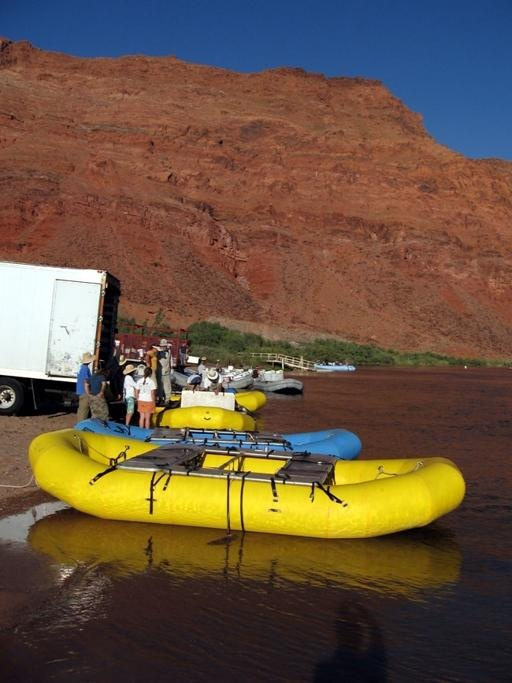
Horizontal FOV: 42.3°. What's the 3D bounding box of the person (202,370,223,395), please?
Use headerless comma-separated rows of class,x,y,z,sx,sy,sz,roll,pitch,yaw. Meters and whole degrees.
person,-1.031,0.962,15.321,0.466,0.341,1.079,4,5,-4

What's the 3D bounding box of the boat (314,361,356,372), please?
boat,5.386,1.804,45.016,3.390,0.685,1.103,2,8,-23

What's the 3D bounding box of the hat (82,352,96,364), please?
hat,-2.599,0.262,10.215,0.155,0.148,0.309,6,1,-15

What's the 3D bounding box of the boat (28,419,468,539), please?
boat,-0.101,1.447,6.460,3.326,0.527,1.807,1,1,7

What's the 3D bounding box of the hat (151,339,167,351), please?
hat,-2.824,0.090,19.339,0.396,0.422,0.409,1,-3,-3
